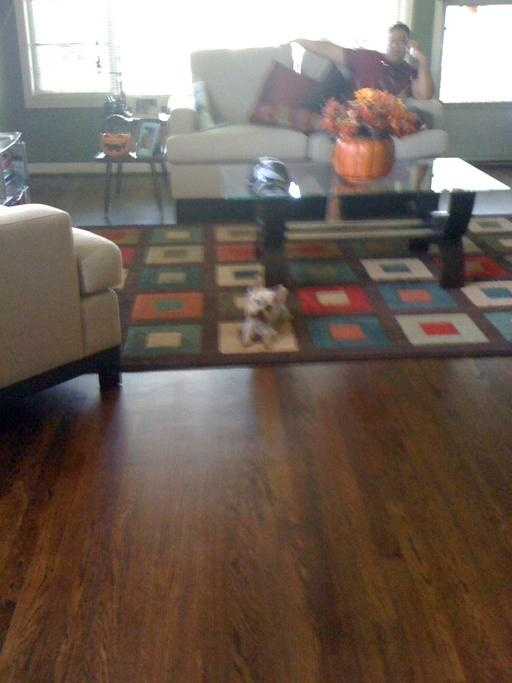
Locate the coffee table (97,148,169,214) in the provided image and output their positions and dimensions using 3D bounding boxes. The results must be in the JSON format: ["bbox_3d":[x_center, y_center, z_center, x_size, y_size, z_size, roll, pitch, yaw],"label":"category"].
[{"bbox_3d":[-0.895,-1.160,3.625,0.545,0.495,0.561,-2,41,-6],"label":"coffee table"}]

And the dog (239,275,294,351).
[{"bbox_3d":[0.052,-0.126,1.882,0.145,0.196,0.376,8,18,17],"label":"dog"}]

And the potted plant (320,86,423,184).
[{"bbox_3d":[0.493,-0.914,2.221,0.405,0.405,0.216,2,13,7],"label":"potted plant"}]
